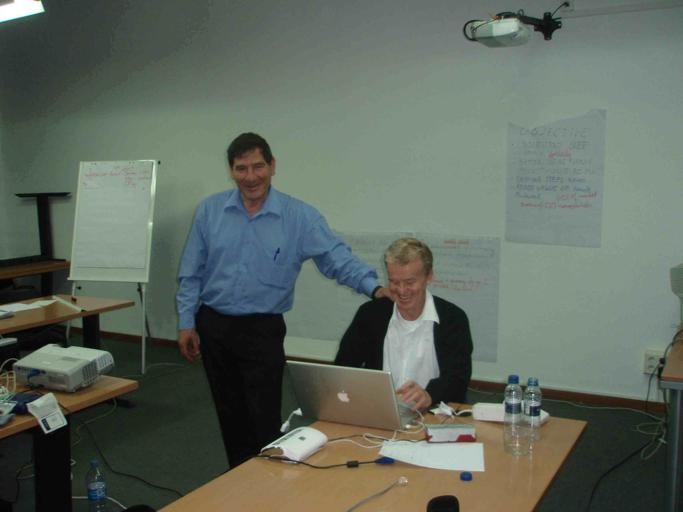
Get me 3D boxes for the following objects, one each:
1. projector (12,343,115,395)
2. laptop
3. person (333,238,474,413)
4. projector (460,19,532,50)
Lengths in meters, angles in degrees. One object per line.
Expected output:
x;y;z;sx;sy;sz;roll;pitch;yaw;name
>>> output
-1.524;0.589;3.273;0.268;0.147;0.367;8;10;18;projector
0.025;0.658;2.741;0.488;0.309;0.348;5;25;26;laptop
0.309;0.448;3.135;0.781;1.037;0.929;-4;16;-4;person
1.064;-1.566;4.070;0.350;0.134;0.271;7;12;33;projector
